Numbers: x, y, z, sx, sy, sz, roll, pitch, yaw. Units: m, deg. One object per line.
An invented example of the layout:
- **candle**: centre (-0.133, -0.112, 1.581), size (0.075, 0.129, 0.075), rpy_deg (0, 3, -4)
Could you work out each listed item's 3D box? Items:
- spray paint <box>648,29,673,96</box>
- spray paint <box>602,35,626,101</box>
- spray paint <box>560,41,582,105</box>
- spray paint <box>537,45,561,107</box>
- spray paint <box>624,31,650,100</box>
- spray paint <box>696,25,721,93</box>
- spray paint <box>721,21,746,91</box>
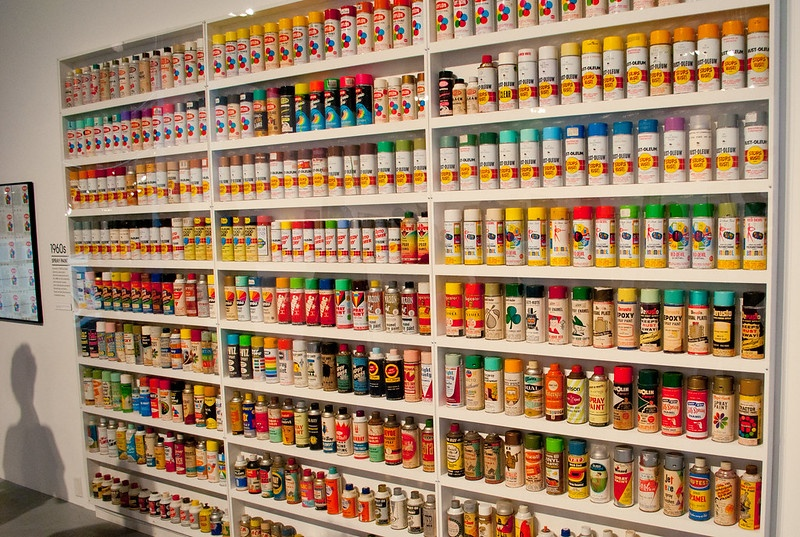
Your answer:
- **spray paint**: centre (0.993, -0.780, 2.742), size (0.085, 0.247, 0.062), rpy_deg (-1, 2, 18)
- **spray paint**: centre (0.829, -0.775, 2.792), size (0.083, 0.237, 0.034), rpy_deg (-1, 2, 13)
- **spray paint**: centre (0.674, -0.768, 2.840), size (0.079, 0.238, 0.033), rpy_deg (-1, 2, 12)
- **spray paint**: centre (0.597, -0.768, 2.884), size (0.085, 0.235, 0.041), rpy_deg (-2, 2, 10)
- **spray paint**: centre (0.914, -0.775, 2.768), size (0.083, 0.242, 0.054), rpy_deg (-2, 2, 11)
- **spray paint**: centre (1.148, -0.782, 2.678), size (0.084, 0.246, 0.038), rpy_deg (-1, 2, 21)
- **spray paint**: centre (1.226, -0.783, 2.650), size (0.084, 0.251, 0.044), rpy_deg (-1, 2, 23)
